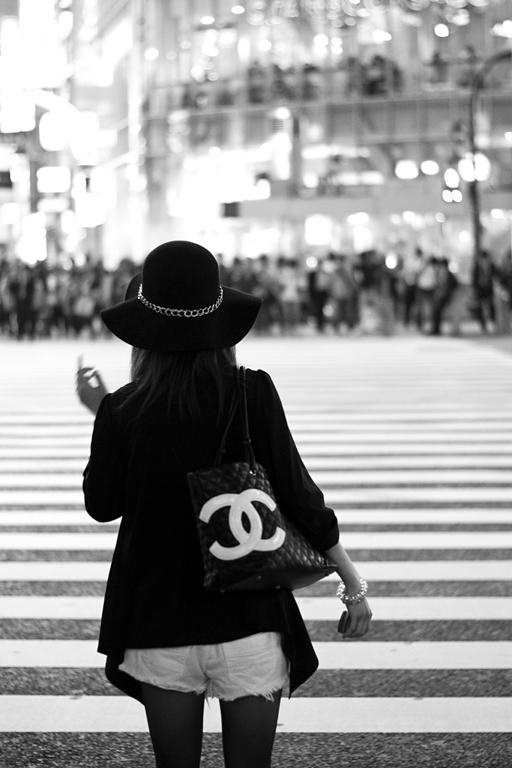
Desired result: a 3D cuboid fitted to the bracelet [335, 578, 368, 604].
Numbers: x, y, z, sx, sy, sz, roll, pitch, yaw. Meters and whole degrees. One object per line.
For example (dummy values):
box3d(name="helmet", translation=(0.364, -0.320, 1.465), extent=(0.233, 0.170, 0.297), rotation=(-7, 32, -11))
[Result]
box3d(name="bracelet", translation=(0.208, 0.460, 2.610), extent=(0.072, 0.074, 0.030), rotation=(-15, -24, 10))

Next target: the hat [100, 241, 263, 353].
box3d(name="hat", translation=(-0.155, -0.221, 2.556), extent=(0.330, 0.169, 0.339), rotation=(-16, 31, -19))

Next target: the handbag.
box3d(name="handbag", translation=(0.012, 0.295, 2.380), extent=(0.290, 0.266, 0.115), rotation=(-2, 9, -2))
